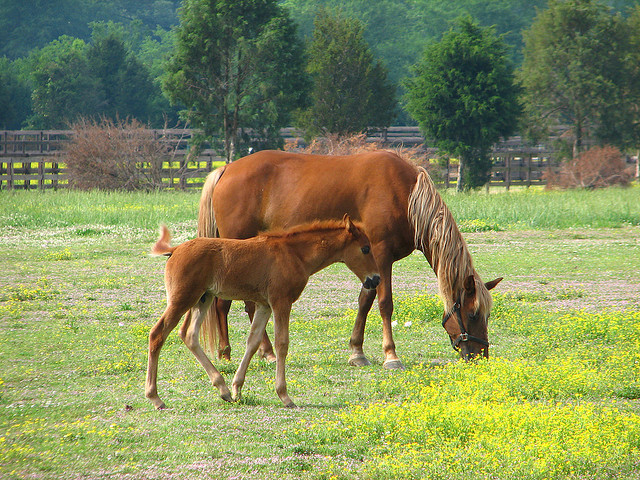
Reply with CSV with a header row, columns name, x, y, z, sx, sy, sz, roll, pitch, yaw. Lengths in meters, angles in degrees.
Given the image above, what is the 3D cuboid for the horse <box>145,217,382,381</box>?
name,x,y,z,sx,sy,sz,roll,pitch,yaw
horse,-2.756,3.047,54.835,11.063,8.653,2.924,0,-13,-9
